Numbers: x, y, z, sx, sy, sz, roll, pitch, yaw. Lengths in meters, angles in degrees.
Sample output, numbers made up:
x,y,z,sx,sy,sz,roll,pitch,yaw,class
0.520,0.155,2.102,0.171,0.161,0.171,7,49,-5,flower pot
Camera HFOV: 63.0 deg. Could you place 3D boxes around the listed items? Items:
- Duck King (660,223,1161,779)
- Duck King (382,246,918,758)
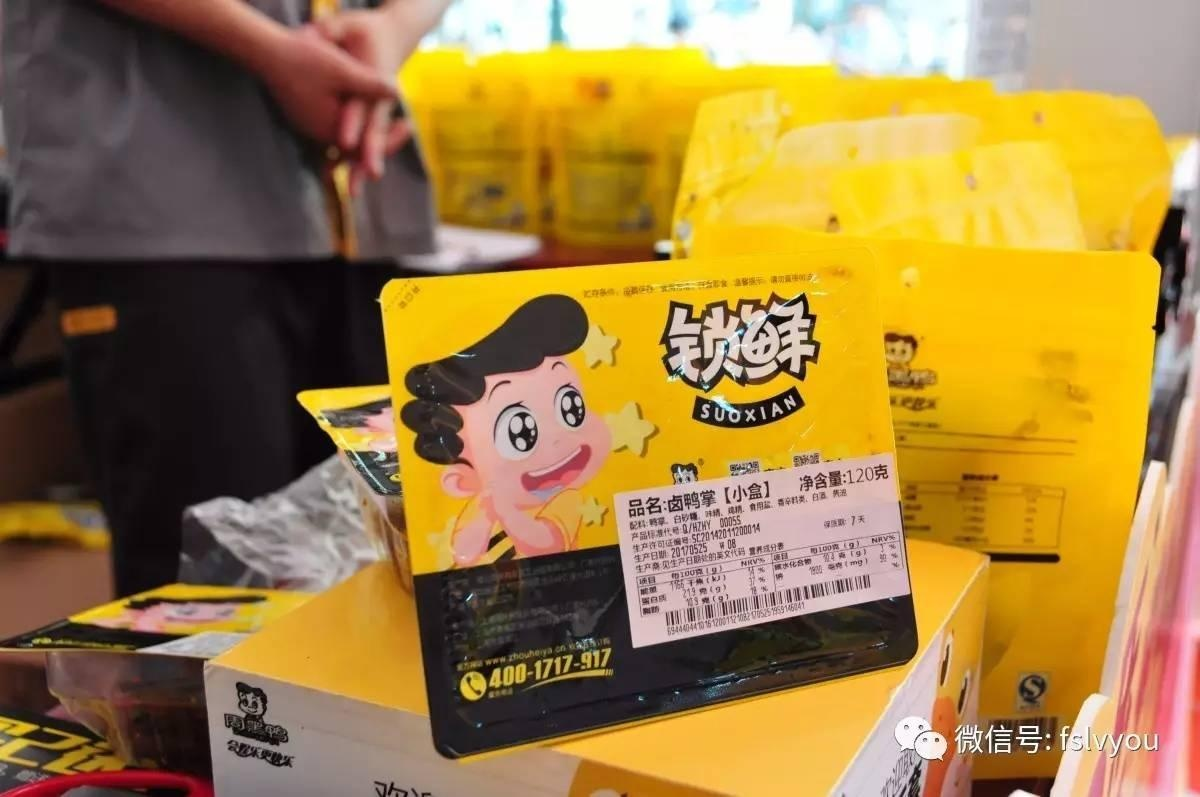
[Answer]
x,y,z,sx,sy,sz,roll,pitch,yaw,class
0.470,0.037,1.538,0.771,0.603,0.705,-6,14,-12,Duck King
0.055,0.090,0.989,0.515,0.465,0.055,-6,1,-10,Duck King
